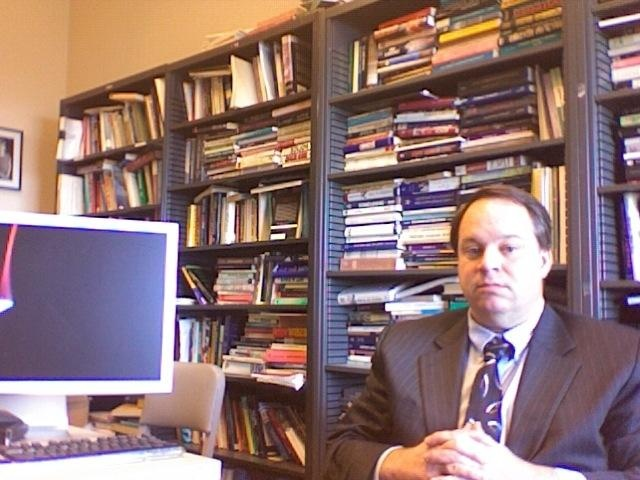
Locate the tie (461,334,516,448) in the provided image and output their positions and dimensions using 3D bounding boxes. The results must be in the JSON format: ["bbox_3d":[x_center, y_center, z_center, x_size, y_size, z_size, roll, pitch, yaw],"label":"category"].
[{"bbox_3d":[0.432,0.370,1.431,0.087,0.238,0.039,9,-5,39],"label":"tie"}]
